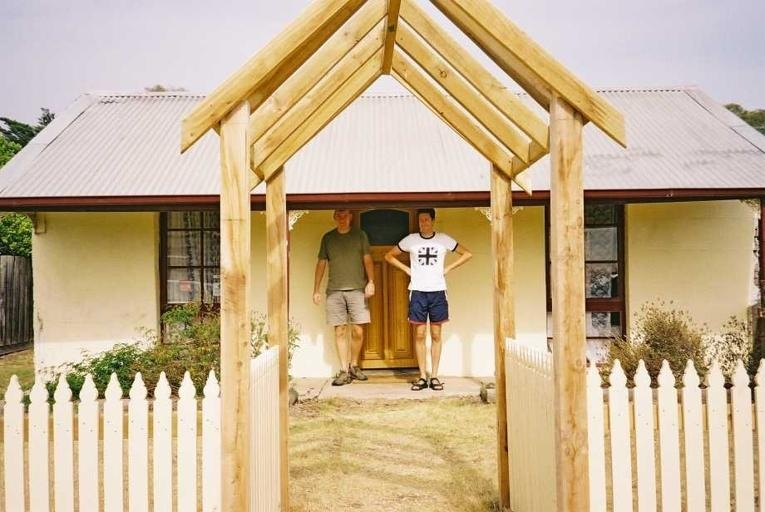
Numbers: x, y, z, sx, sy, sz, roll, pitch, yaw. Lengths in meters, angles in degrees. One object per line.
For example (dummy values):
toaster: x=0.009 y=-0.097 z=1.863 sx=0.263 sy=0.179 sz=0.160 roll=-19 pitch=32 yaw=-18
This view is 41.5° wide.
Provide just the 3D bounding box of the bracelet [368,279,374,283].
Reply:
bracelet: x=-0.231 y=0.583 z=24.091 sx=0.096 sy=0.075 sz=0.058 roll=1 pitch=-4 yaw=-24

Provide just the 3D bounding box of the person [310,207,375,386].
person: x=-0.886 y=0.984 z=24.345 sx=1.364 sy=4.213 sz=1.002 roll=-2 pitch=-7 yaw=-1
